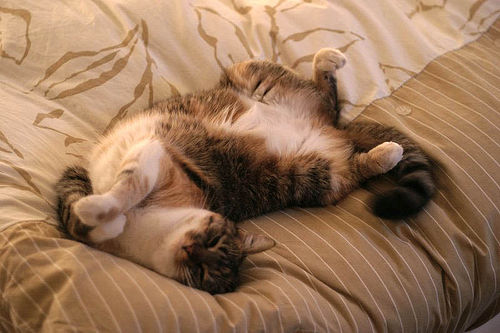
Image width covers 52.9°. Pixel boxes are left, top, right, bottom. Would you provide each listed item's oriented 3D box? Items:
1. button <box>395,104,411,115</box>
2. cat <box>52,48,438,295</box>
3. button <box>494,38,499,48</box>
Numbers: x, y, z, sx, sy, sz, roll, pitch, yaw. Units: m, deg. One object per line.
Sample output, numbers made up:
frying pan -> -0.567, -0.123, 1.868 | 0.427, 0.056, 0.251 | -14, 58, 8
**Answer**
button -> 0.676, -0.250, 2.206 | 0.045, 0.014, 0.052 | 3, 52, 14
cat -> -0.022, 0.012, 1.979 | 1.350, 0.510, 0.924 | -14, 58, -30
button -> 1.172, -0.588, 2.385 | 0.024, 0.008, 0.034 | -5, 64, -7
